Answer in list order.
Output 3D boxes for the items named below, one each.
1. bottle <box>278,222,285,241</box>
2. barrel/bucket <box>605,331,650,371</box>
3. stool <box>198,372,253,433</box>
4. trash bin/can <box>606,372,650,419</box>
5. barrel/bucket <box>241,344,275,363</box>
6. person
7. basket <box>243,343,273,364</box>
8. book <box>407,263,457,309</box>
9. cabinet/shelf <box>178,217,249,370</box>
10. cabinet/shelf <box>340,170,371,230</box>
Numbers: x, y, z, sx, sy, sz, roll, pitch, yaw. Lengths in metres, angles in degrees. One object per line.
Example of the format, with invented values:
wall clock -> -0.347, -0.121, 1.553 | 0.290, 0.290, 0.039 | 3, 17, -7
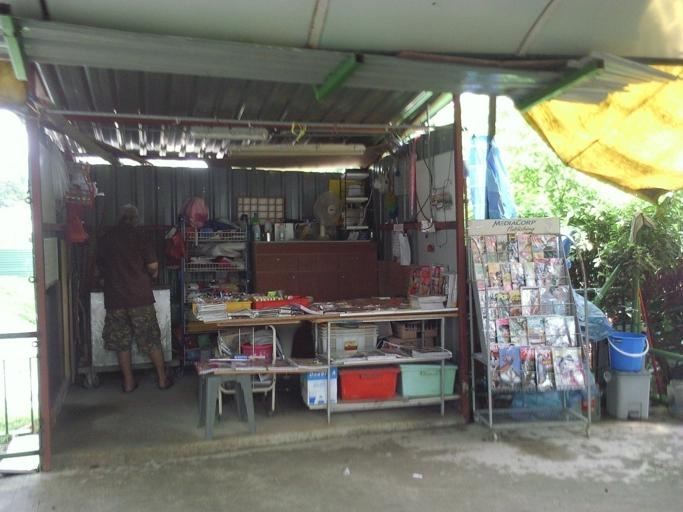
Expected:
bottle -> -0.944, -0.384, 9.148 | 0.117, 0.244, 0.087 | -1, 11, 0
barrel/bucket -> 3.434, 1.151, 7.027 | 0.460, 0.393, 0.483 | 1, 4, 0
stool -> -1.174, 1.616, 6.613 | 0.657, 0.653, 0.606 | 0, 1, 6
trash bin/can -> 3.461, 1.638, 6.968 | 0.477, 0.529, 0.475 | 0, 0, -43
barrel/bucket -> -0.991, 1.125, 6.884 | 0.244, 0.194, 0.250 | 0, 1, 0
person -> -2.852, 0.574, 7.914 | 0.816, 2.392, 0.837 | -5, 12, -22
basket -> -0.981, 1.135, 6.890 | 0.234, 0.185, 0.239 | 0, 0, 23
book -> 1.082, 0.585, 7.230 | 0.391, 0.902, 0.934 | 2, -5, -11
cabinet/shelf -> -2.008, -0.078, 9.259 | 0.966, 3.051, 1.439 | -2, 26, -13
cabinet/shelf -> 0.257, -0.910, 9.486 | 0.448, 0.869, 0.636 | 0, 11, 3
